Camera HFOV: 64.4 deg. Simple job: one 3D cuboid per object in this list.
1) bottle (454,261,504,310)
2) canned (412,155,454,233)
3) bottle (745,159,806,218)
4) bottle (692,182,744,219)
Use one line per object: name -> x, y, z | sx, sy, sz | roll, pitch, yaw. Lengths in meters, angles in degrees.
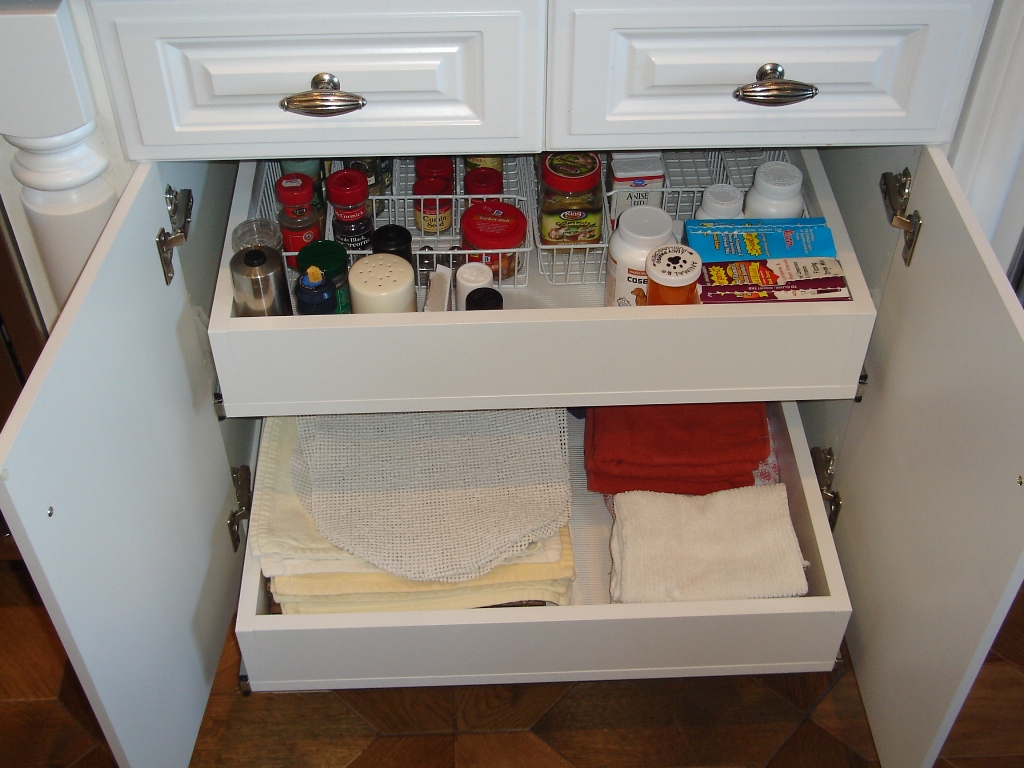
bottle -> -0.049, -0.145, 1.195 | 0.055, 0.069, 0.066 | 1, 55, -1
canned -> -0.123, -0.298, 1.281 | 0.055, 0.049, 0.133 | 0, 54, -2
bottle -> 0.380, -0.275, 1.176 | 0.081, 0.079, 0.083 | 1, 49, 2
bottle -> 0.298, -0.266, 1.193 | 0.054, 0.053, 0.056 | -16, 64, -8
